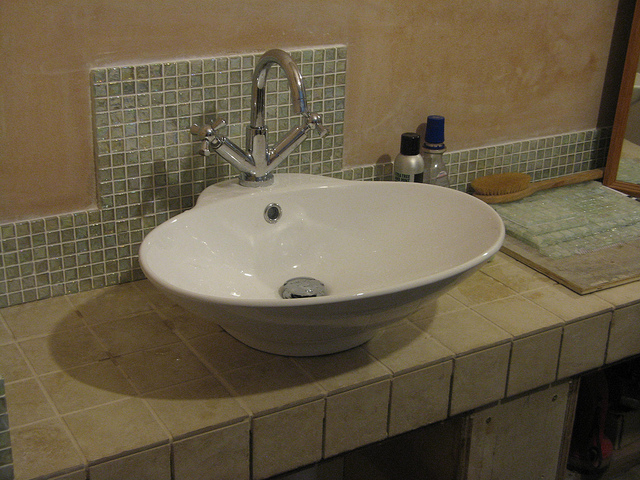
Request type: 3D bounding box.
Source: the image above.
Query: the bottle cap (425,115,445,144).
[{"bbox_3d":[0.284,-0.271,1.442,0.044,0.061,0.065,4,25,10],"label":"bottle cap"}]

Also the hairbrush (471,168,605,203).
[{"bbox_3d":[0.634,-0.172,1.689,0.493,0.058,0.095,-13,26,-29],"label":"hairbrush"}]

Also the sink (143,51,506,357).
[{"bbox_3d":[-0.005,-0.060,1.066,0.667,0.407,0.531,-14,32,-29],"label":"sink"}]

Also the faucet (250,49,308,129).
[{"bbox_3d":[-0.086,-0.281,1.122,0.063,0.153,0.183,-15,28,-26],"label":"faucet"}]

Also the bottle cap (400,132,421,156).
[{"bbox_3d":[0.215,-0.225,1.387,0.059,0.049,0.054,-9,21,-28],"label":"bottle cap"}]
